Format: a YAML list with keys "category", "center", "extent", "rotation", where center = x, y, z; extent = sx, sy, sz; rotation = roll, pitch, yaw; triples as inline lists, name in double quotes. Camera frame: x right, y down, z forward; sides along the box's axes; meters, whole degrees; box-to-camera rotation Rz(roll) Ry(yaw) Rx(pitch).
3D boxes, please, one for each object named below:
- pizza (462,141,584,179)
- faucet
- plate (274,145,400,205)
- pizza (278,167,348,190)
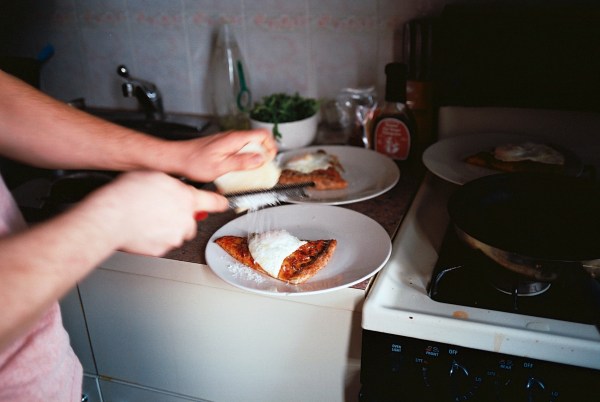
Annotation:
- category: "pizza"
  center: [0.637, -0.125, 1.245]
  extent: [0.215, 0.035, 0.119]
  rotation: [3, 25, 20]
- category: "faucet"
  center: [-0.610, -0.406, 1.708]
  extent: [0.115, 0.171, 0.292]
  rotation: [12, 11, 18]
- category: "plate"
  center: [0.158, -0.065, 1.343]
  extent: [0.256, 0.019, 0.250]
  rotation: [-17, 29, -32]
- category: "pizza"
  center: [0.038, -0.064, 1.360]
  extent: [0.205, 0.045, 0.150]
  rotation: [-6, 23, -10]
